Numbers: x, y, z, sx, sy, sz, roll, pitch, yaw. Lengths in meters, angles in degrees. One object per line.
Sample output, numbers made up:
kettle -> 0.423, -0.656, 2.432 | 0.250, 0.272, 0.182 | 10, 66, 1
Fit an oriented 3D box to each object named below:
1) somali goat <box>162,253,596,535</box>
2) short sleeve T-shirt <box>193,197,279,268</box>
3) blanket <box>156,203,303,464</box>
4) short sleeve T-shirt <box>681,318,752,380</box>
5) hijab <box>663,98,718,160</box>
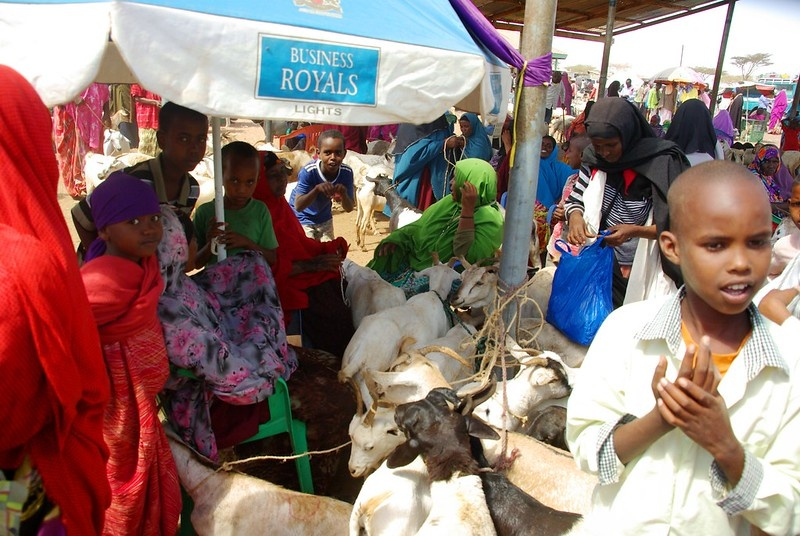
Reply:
somali goat -> -0.147, 1.088, 3.648 | 2.225, 1.739, 1.026 | -4, 1, -1
short sleeve T-shirt -> -1.289, -0.215, 4.306 | 0.650, 0.632, 0.353 | 0, 11, -6
blanket -> -1.126, 0.458, 3.585 | 0.914, 1.564, 0.919 | -14, 51, -13
short sleeve T-shirt -> 1.102, 0.307, 1.960 | 0.173, 0.227, 0.086 | 2, -16, 0
hijab -> 2.644, -1.272, 4.905 | 0.370, 0.418, 0.348 | 2, 36, 37
